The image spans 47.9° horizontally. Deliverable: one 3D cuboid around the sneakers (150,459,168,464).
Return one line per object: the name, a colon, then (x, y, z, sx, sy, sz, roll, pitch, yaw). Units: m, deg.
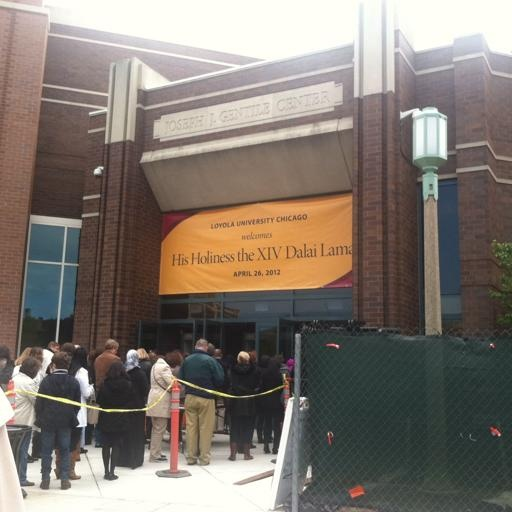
sneakers: (-1.628, 3.422, 9.667, 0.264, 0.139, 0.097, 1, -11, -6)

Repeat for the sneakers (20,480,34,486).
sneakers: (-3.022, 3.017, 7.630, 0.183, 0.089, 0.071, 5, -4, -9)

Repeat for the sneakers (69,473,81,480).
sneakers: (-2.572, 3.138, 8.227, 0.146, 0.120, 0.054, -1, -1, -11)

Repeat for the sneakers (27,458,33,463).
sneakers: (-3.727, 3.380, 9.543, 0.110, 0.121, 0.054, -5, -13, 23)

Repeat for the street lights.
street lights: (2.461, -0.597, 7.991, 0.485, 3.342, 0.641, -4, -9, 21)

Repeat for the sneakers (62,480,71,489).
sneakers: (-2.486, 3.016, 7.617, 0.117, 0.128, 0.095, -1, -5, 1)

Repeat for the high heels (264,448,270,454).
high heels: (0.211, 3.665, 10.829, 0.106, 0.119, 0.069, -1, -6, -1)
